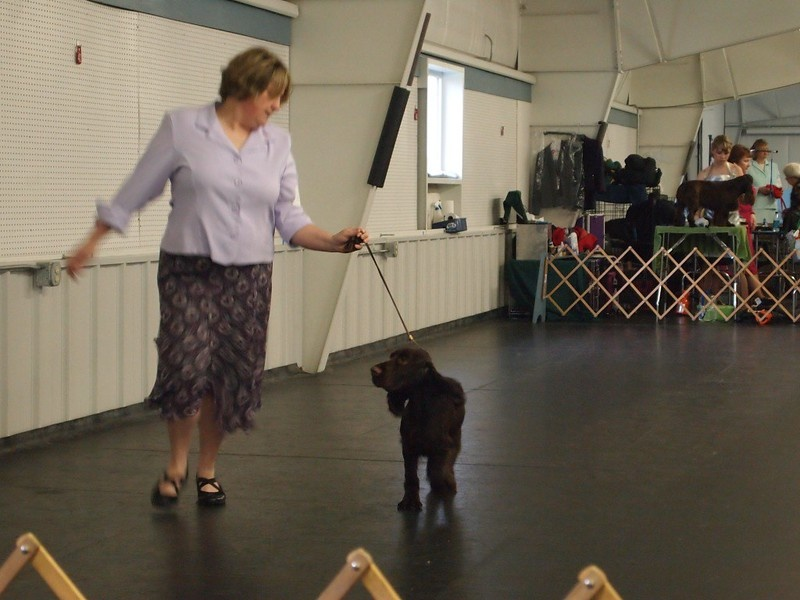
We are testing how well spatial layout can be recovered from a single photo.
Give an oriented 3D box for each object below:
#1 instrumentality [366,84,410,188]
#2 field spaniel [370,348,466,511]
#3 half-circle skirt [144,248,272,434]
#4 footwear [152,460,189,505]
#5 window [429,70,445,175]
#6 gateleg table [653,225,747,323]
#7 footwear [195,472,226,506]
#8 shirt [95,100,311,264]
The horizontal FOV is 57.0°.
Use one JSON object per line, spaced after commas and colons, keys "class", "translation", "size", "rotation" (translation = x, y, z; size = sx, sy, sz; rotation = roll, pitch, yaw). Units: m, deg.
{"class": "instrumentality", "translation": [-0.130, -1.691, 7.660], "size": [0.433, 1.026, 0.194], "rotation": [0, 4, 0]}
{"class": "field spaniel", "translation": [0.104, 0.716, 4.260], "size": [0.554, 0.903, 0.424], "rotation": [-1, 5, -7]}
{"class": "half-circle skirt", "translation": [-0.982, 0.168, 3.953], "size": [0.515, 1.035, 0.349], "rotation": [5, 14, -10]}
{"class": "footwear", "translation": [-1.305, 1.052, 4.170], "size": [0.165, 0.145, 0.268], "rotation": [-4, 9, -4]}
{"class": "window", "translation": [0.524, -2.720, 11.314], "size": [0.203, 1.545, 0.487], "rotation": [1, 5, 16]}
{"class": "gateleg table", "translation": [4.915, -0.370, 12.145], "size": [1.236, 1.116, 1.355], "rotation": [0, -15, 8]}
{"class": "footwear", "translation": [-1.085, 1.079, 4.182], "size": [0.137, 0.135, 0.316], "rotation": [1, -6, -16]}
{"class": "shirt", "translation": [-1.259, -0.697, 4.336], "size": [1.283, 0.978, 0.480], "rotation": [7, -2, -30]}
